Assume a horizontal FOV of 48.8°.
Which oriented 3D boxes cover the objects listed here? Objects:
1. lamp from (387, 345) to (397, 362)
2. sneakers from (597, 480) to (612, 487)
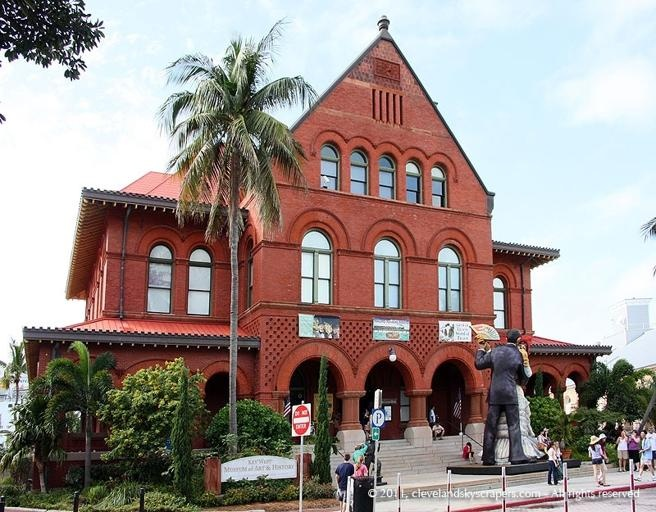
[{"bbox_3d":[2.889,4.397,32.096,0.404,0.648,0.235,0,2,1],"label":"lamp"},{"bbox_3d":[9.581,7.873,24.945,0.562,0.261,0.204,15,-18,-39],"label":"sneakers"}]
